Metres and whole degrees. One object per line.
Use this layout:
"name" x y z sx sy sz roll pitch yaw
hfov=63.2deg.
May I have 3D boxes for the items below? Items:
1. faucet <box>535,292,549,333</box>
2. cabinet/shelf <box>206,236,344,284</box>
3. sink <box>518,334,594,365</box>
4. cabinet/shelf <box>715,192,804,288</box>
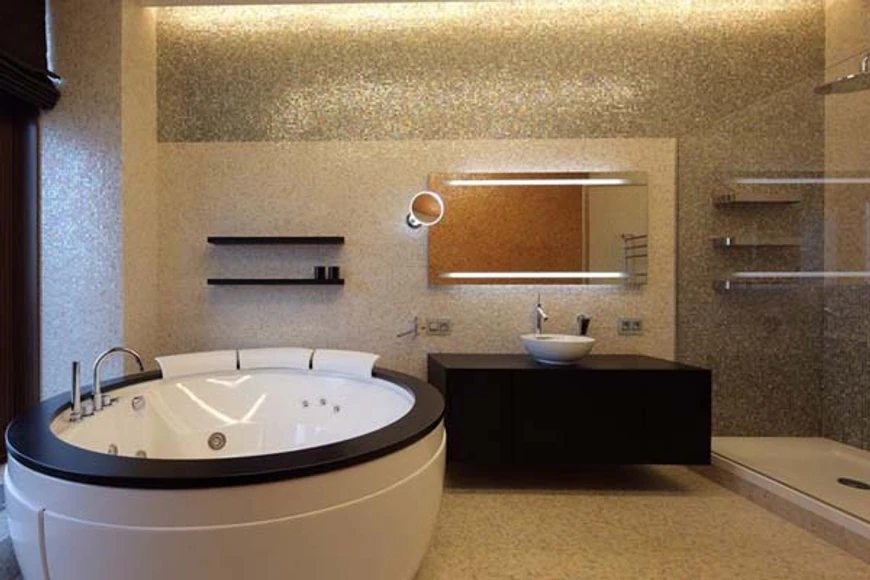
"faucet" 0.847 0.178 5.654 0.109 0.319 0.129 0 2 7
"cabinet/shelf" -1.271 -0.238 5.621 1.086 0.402 0.199 -1 2 0
"sink" 0.917 0.438 5.332 0.528 0.195 0.258 0 1 7
"cabinet/shelf" 2.321 -0.451 5.169 0.607 0.652 0.153 3 5 32
